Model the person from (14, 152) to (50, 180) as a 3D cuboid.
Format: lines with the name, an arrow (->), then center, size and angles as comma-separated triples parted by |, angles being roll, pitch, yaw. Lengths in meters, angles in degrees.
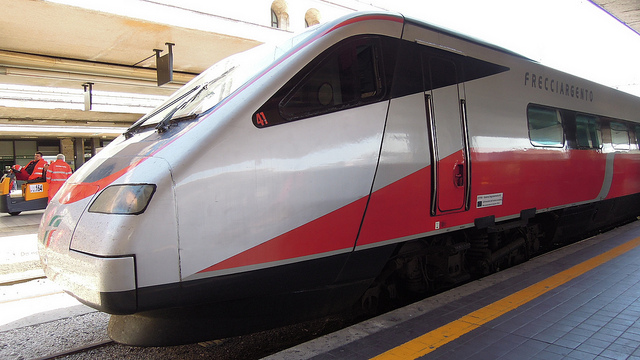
person -> -11.844, -0.590, 16.284 | 1.015, 0.958, 1.431 | 25, 18, 24

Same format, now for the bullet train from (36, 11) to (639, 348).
bullet train -> 0.889, -0.304, 6.326 | 9.077, 4.403, 1.996 | -11, 17, -30
